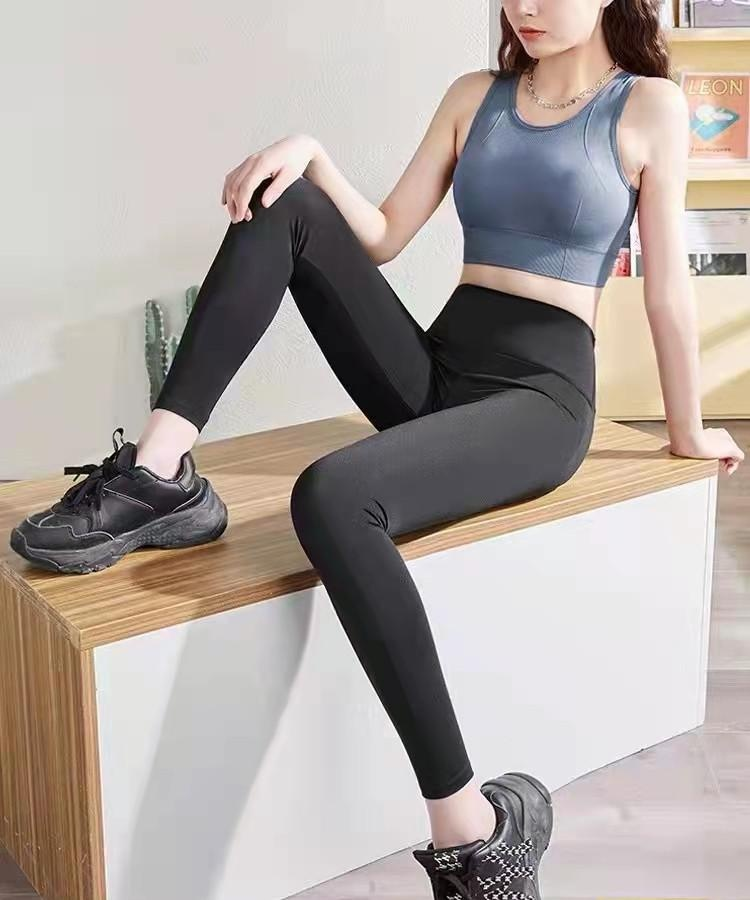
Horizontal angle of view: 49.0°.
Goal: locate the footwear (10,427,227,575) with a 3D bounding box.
[{"bbox_3d":[-0.293,0.066,0.928,0.250,0.101,0.095,-10,23,-39],"label":"footwear"}]
